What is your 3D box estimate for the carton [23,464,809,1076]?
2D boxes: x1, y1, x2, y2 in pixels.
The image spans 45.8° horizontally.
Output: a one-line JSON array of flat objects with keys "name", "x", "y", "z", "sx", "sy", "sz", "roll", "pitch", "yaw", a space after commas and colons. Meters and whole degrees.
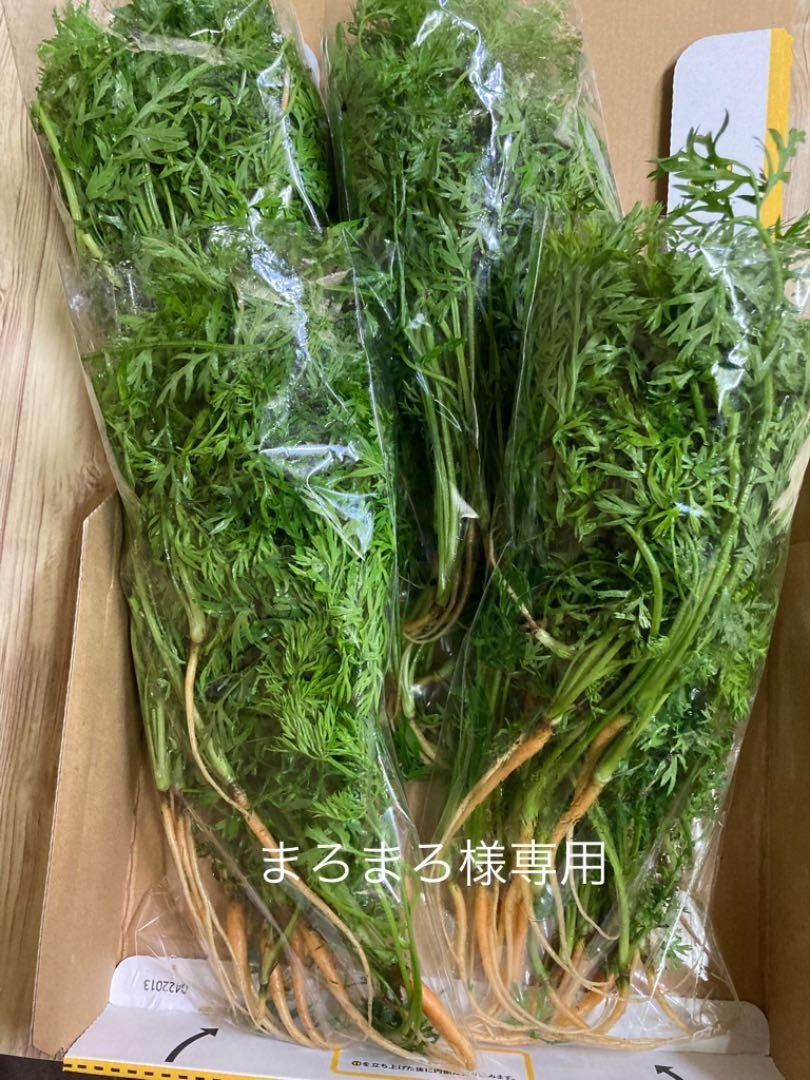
[{"name": "carton", "x": -0.179, "y": 0.324, "z": 1.288, "sx": 0.597, "sy": 0.885, "sz": 0.293, "roll": 2, "pitch": 1, "yaw": 4}]
